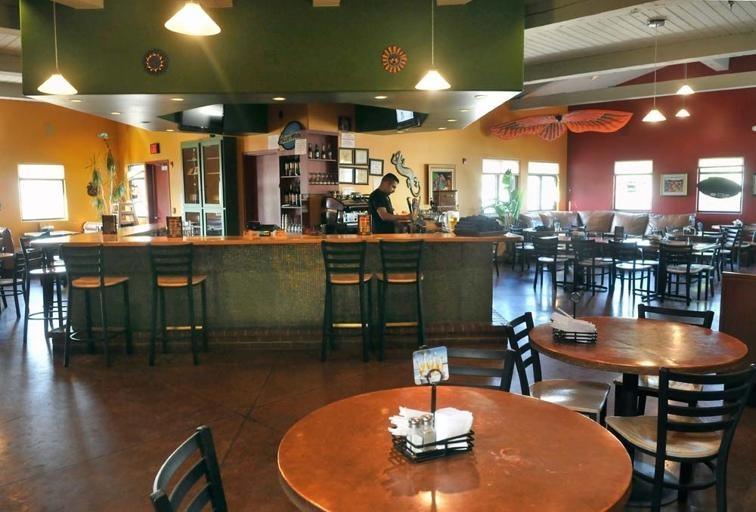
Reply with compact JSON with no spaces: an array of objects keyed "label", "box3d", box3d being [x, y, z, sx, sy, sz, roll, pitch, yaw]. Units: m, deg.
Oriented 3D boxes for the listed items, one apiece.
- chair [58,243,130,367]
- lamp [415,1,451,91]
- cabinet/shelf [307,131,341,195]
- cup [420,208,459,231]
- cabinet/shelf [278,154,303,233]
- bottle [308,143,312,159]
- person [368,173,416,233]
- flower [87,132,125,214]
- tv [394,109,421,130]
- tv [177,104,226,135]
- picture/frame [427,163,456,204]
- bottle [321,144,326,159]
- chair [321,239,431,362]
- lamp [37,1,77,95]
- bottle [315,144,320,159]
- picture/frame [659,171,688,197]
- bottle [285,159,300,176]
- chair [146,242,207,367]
[{"label":"chair","box3d":[-3.619,0.564,7.849,0.935,1.443,0.830,-2,6,6]},{"label":"lamp","box3d":[0.654,-2.578,7.596,0.384,1.226,1.013,-2,6,6]},{"label":"cabinet/shelf","box3d":[-0.978,-1.666,11.116,0.173,1.022,0.686,2,8,42]},{"label":"cup","box3d":[0.927,-0.547,9.394,0.507,0.295,0.348,-4,8,-26]},{"label":"cabinet/shelf","box3d":[-1.632,-1.056,11.459,0.165,1.330,0.513,4,5,43]},{"label":"bottle","box3d":[-1.195,-1.835,10.959,0.034,0.258,0.115,-1,6,20]},{"label":"person","box3d":[0.162,-0.796,9.369,0.601,0.893,0.520,-4,6,-8]},{"label":"flower","box3d":[-6.431,-1.959,14.650,0.855,1.965,1.697,-5,6,-21]},{"label":"tv","box3d":[0.478,-2.228,10.232,0.352,0.100,0.394,3,-5,41]},{"label":"tv","box3d":[-3.096,-2.424,10.899,0.386,0.507,1.296,-2,5,11]},{"label":"picture/frame","box3d":[1.426,-1.626,14.042,0.839,0.795,0.063,-4,5,-39]},{"label":"bottle","box3d":[-0.982,-1.858,11.181,0.048,0.241,0.169,0,6,26]},{"label":"chair","box3d":[-0.097,0.560,7.844,1.497,1.709,0.796,0,9,-3]},{"label":"lamp","box3d":[-3.974,-2.561,7.658,0.406,1.253,0.849,-6,6,-24]},{"label":"bottle","box3d":[-1.071,-1.837,11.093,0.041,0.224,0.134,0,7,29]},{"label":"picture/frame","box3d":[7.276,-1.783,15.335,0.053,0.633,0.673,-8,6,-33]},{"label":"bottle","box3d":[-1.540,-1.589,11.253,0.130,0.307,0.486,-7,7,-33]},{"label":"chair","box3d":[-2.523,0.563,7.825,0.759,1.451,0.937,-5,6,-16]}]
